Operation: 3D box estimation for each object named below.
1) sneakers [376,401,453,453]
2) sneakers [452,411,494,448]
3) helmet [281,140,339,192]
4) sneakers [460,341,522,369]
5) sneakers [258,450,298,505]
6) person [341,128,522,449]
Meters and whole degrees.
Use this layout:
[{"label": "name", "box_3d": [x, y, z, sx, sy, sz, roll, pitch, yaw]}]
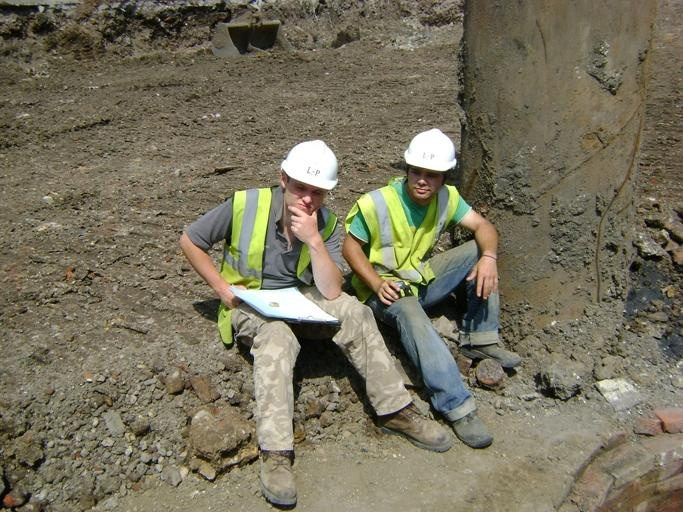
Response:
[{"label": "sneakers", "box_3d": [0.494, 1.108, 3.479, 0.532, 0.273, 0.224, 16, 43, 8]}, {"label": "sneakers", "box_3d": [0.830, 1.121, 3.477, 0.153, 0.125, 0.280, -33, 35, -24]}, {"label": "helmet", "box_3d": [-0.191, -0.534, 3.336, 0.334, 0.313, 0.270, -13, 31, -2]}, {"label": "sneakers", "box_3d": [1.057, 0.697, 3.799, 0.397, 0.198, 0.178, 0, 27, 20]}, {"label": "sneakers", "box_3d": [-0.370, 1.224, 3.143, 0.142, 0.170, 0.380, 0, 30, -21]}, {"label": "person", "box_3d": [0.651, 0.061, 3.470, 1.021, 1.621, 1.608, -8, 24, -12]}]
